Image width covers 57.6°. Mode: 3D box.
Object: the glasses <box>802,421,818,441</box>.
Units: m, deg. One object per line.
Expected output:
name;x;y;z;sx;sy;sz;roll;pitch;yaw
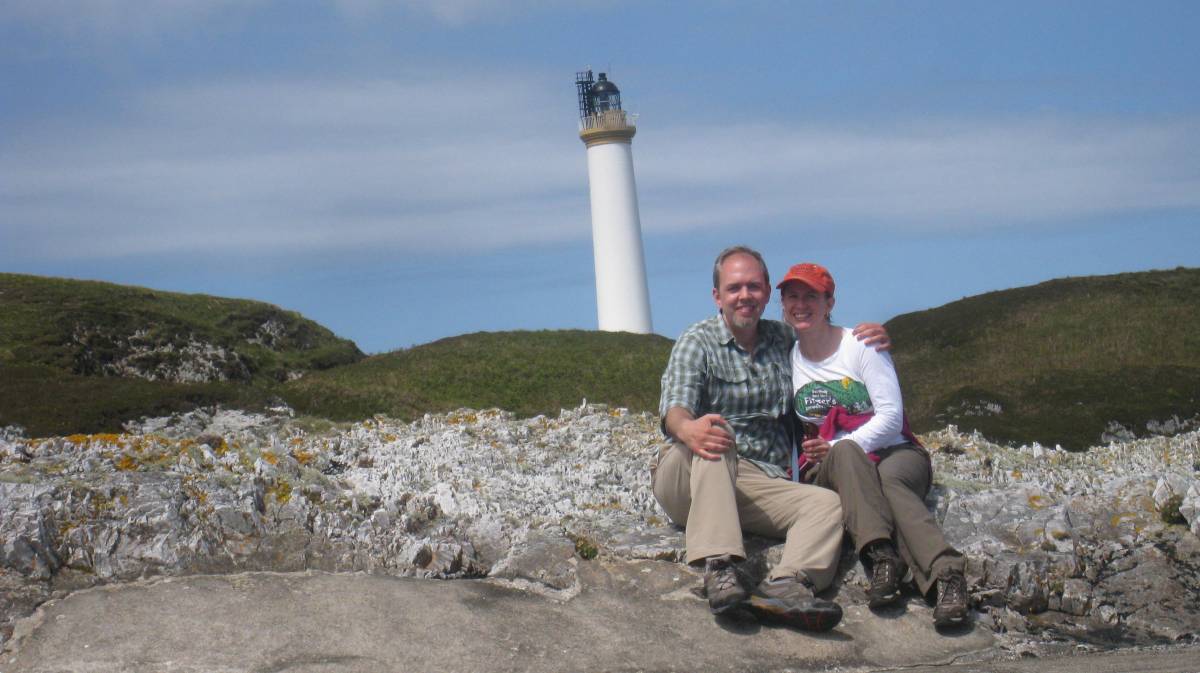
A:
glasses;3.714;1.687;19.404;0.215;0.319;0.101;5;27;38
